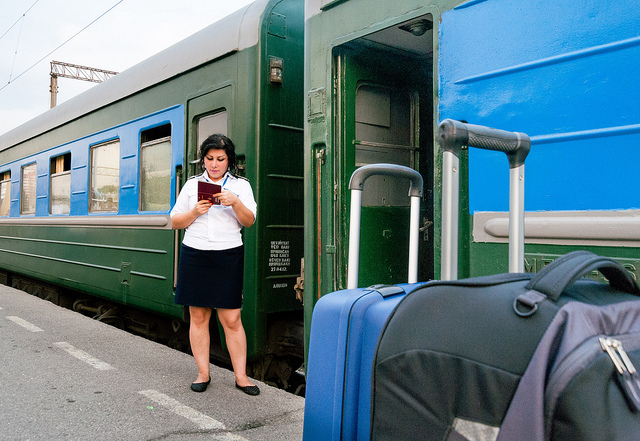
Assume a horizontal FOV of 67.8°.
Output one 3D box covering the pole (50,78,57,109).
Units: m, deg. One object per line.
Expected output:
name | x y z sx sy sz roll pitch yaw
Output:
pole | -14.000 -6.713 25.040 0.212 1.367 0.715 -1 2 -30

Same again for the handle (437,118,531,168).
handle | 0.692 -0.301 2.007 0.457 0.192 0.112 2 6 -25

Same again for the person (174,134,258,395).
person | -0.839 0.352 3.793 0.546 2.056 0.494 -2 2 -42
